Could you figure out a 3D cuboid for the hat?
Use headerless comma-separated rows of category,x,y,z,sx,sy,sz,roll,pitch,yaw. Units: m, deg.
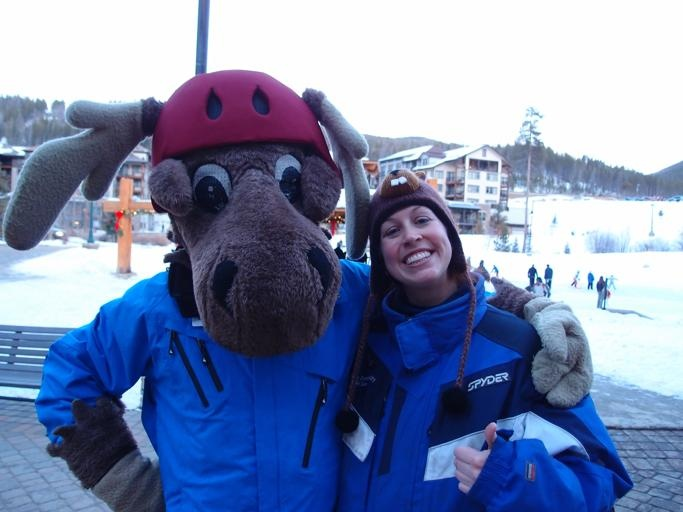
hat,0.361,-0.250,3.333,0.480,0.728,0.625,-11,44,14
